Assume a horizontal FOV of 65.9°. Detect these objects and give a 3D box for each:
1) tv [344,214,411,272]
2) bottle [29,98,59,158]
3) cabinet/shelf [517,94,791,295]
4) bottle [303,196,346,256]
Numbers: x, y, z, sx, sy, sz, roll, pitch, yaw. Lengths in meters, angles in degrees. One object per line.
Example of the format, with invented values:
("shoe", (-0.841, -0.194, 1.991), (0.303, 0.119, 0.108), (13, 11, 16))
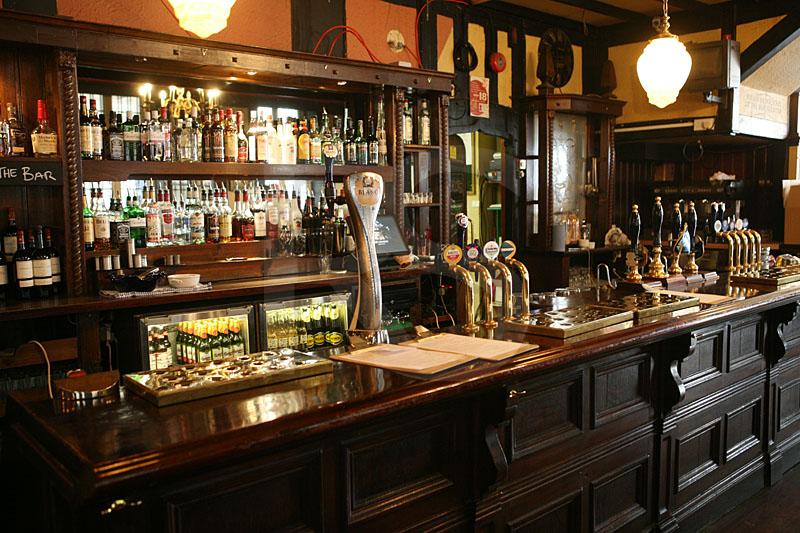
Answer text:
("tv", (-0.260, -0.192, 5.234), (0.557, 0.513, 0.437), (0, 3, -41))
("bottle", (-2.352, -0.916, 4.064), (0.140, 0.363, 0.184), (-8, 13, -36))
("cabinet/shelf", (2.840, -0.879, 6.985), (2.767, 1.722, 0.943), (-1, 2, -32))
("bottle", (-0.602, -0.331, 4.953), (0.438, 0.566, 0.410), (-1, 0, 0))
